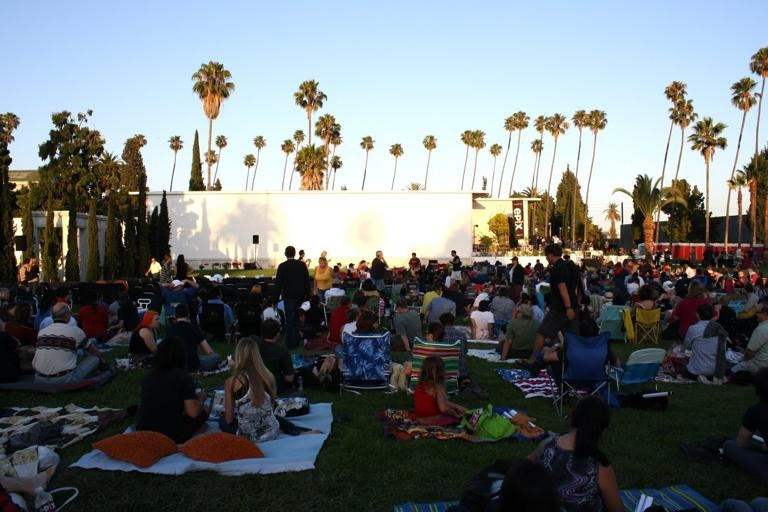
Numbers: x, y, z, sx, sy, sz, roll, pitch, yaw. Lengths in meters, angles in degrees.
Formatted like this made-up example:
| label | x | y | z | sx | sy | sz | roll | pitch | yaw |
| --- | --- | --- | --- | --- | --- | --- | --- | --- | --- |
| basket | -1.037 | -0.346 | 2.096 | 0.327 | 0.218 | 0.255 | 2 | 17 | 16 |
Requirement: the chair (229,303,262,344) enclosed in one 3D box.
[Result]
| label | x | y | z | sx | sy | sz | roll | pitch | yaw |
| --- | --- | --- | --- | --- | --- | --- | --- | --- | --- |
| chair | -2.936 | 1.671 | 12.727 | 0.655 | 1.142 | 0.675 | 9 | -40 | -29 |

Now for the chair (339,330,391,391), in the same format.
| label | x | y | z | sx | sy | sz | roll | pitch | yaw |
| --- | --- | --- | --- | --- | --- | --- | --- | --- | --- |
| chair | -0.288 | 1.661 | 10.261 | 1.072 | 1.351 | 0.825 | 0 | -3 | -3 |

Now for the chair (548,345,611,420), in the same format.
| label | x | y | z | sx | sy | sz | roll | pitch | yaw |
| --- | --- | --- | --- | --- | --- | --- | --- | --- | --- |
| chair | 3.172 | 1.857 | 9.323 | 1.069 | 1.355 | 1.085 | 3 | -9 | -5 |

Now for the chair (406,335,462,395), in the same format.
| label | x | y | z | sx | sy | sz | roll | pitch | yaw |
| --- | --- | --- | --- | --- | --- | --- | --- | --- | --- |
| chair | 0.807 | 1.797 | 9.519 | 0.792 | 0.922 | 0.517 | 0 | 12 | 1 |

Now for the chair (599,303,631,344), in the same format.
| label | x | y | z | sx | sy | sz | roll | pitch | yaw |
| --- | --- | --- | --- | --- | --- | --- | --- | --- | --- |
| chair | 5.041 | 1.494 | 12.918 | 0.681 | 0.944 | 0.839 | 1 | 7 | 11 |

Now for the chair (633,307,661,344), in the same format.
| label | x | y | z | sx | sy | sz | roll | pitch | yaw |
| --- | --- | --- | --- | --- | --- | --- | --- | --- | --- |
| chair | 5.829 | 1.554 | 13.151 | 0.674 | 0.922 | 0.660 | 12 | -10 | -38 |
